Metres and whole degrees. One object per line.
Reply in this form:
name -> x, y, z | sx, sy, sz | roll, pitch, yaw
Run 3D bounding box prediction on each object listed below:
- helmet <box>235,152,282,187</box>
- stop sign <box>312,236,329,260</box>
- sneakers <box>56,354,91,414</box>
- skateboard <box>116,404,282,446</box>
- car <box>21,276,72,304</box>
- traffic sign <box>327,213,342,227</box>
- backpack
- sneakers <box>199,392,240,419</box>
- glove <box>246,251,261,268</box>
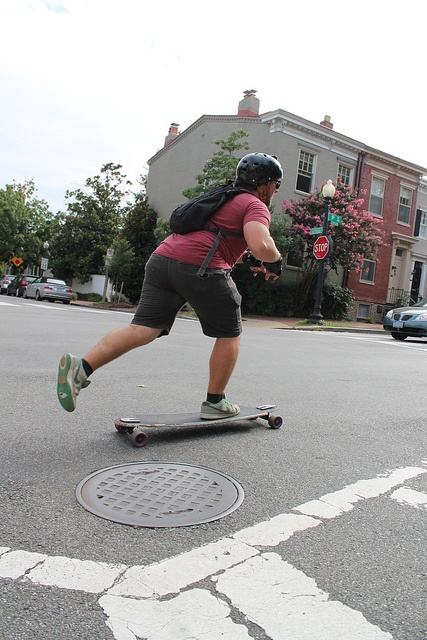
helmet -> 0.284, -1.038, 3.286 | 0.288, 0.261, 0.216 | -24, 34, -18
stop sign -> 4.255, -2.888, 18.756 | 0.281, 0.949, 0.817 | 5, 0, -31
sneakers -> -0.812, 0.365, 2.799 | 0.190, 0.331, 0.156 | 5, 0, -30
skateboard -> -0.065, 0.665, 3.255 | 1.106, 0.146, 0.385 | -1, 2, -23
car -> -9.656, -1.783, 27.682 | 1.392, 0.929, 2.877 | 3, 8, -36
traffic sign -> 4.818, -4.074, 19.093 | 0.350, 0.464, 0.767 | 5, 0, 31
backpack -> -0.037, -0.608, 3.087 | 0.500, 0.634, 0.342 | 5, 0, 1
sneakers -> 0.058, 0.601, 3.392 | 0.312, 0.147, 0.119 | -2, 4, -38
glove -> 0.265, -0.430, 3.373 | 0.120, 0.104, 0.090 | 0, 27, -11
